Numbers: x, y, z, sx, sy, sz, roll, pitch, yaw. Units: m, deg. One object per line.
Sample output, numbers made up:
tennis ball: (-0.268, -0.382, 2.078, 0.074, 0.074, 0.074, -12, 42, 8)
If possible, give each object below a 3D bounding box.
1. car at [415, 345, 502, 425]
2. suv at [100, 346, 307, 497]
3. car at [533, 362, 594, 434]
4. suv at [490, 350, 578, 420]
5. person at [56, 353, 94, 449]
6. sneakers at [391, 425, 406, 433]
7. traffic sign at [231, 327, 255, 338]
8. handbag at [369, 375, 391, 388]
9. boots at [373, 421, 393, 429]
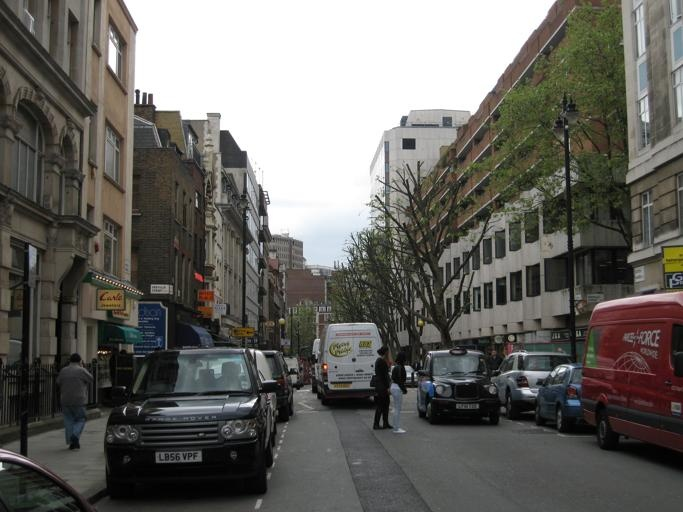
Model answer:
car: (3.412, 3.834, 22.509, 1.312, 1.615, 3.002, 0, -17, -2)
suv: (-2.433, 2.474, 12.208, 1.565, 1.587, 3.192, -2, -16, -2)
car: (5.832, 3.741, 20.261, 0.866, 1.033, 1.739, 1, -3, -2)
suv: (6.076, 4.145, 24.717, 1.455, 1.777, 3.656, 0, -5, -4)
person: (-5.934, 3.184, 16.726, 0.704, 2.113, 0.729, 3, -11, -27)
sneakers: (1.534, 4.522, 19.802, 0.281, 0.149, 0.178, 1, -4, -2)
traffic sign: (-5.355, 4.046, 41.483, 0.879, 0.661, 1.897, 2, -15, -23)
handbag: (1.058, 3.385, 20.544, 0.440, 0.377, 0.313, -1, -4, 11)
boots: (1.127, 4.634, 20.763, 0.577, 0.332, 0.217, -3, -5, 5)
